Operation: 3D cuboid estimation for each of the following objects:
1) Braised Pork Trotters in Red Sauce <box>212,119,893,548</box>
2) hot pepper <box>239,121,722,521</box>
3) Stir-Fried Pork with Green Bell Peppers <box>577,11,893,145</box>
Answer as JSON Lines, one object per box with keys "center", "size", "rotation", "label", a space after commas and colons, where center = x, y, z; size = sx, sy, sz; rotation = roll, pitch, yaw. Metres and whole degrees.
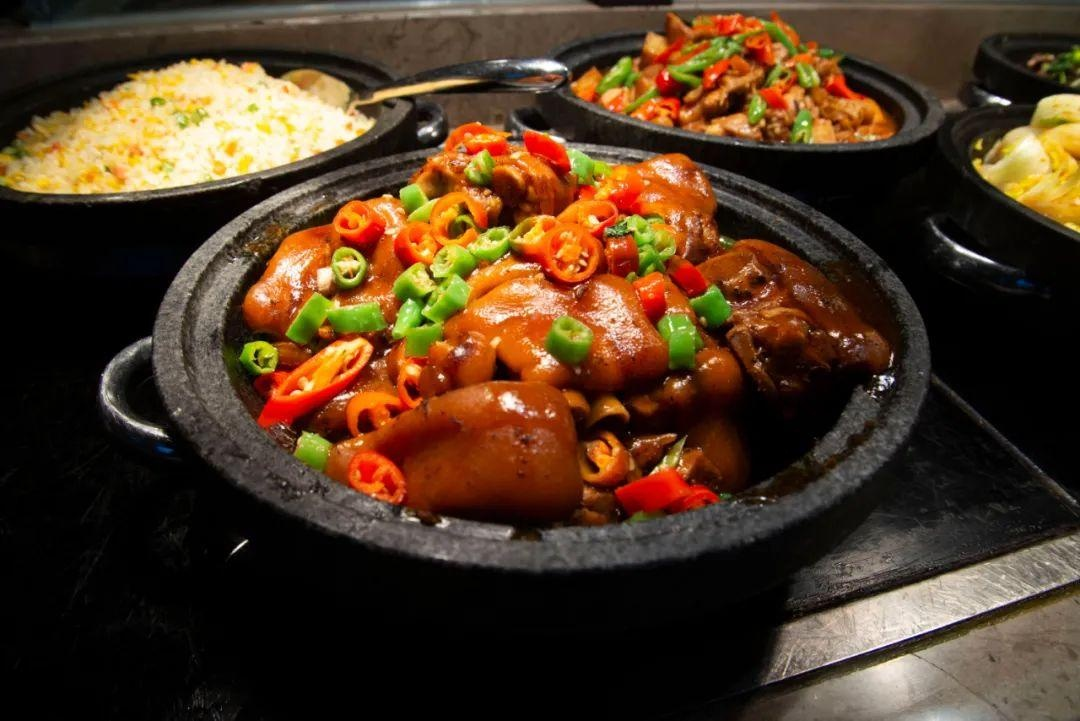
{"center": [0.012, -0.113, 4.509], "size": [2.884, 0.746, 1.899], "rotation": [1, 59, 2], "label": "Braised Pork Trotters in Red Sauce"}
{"center": [-0.034, -0.305, 5.193], "size": [2.881, 1.715, 2.526], "rotation": [10, 19, 32], "label": "hot pepper"}
{"center": [1.357, -1.887, 6.314], "size": [1.391, 0.448, 1.529], "rotation": [21, 41, 19], "label": "Stir-Fried Pork with Green Bell Peppers"}
